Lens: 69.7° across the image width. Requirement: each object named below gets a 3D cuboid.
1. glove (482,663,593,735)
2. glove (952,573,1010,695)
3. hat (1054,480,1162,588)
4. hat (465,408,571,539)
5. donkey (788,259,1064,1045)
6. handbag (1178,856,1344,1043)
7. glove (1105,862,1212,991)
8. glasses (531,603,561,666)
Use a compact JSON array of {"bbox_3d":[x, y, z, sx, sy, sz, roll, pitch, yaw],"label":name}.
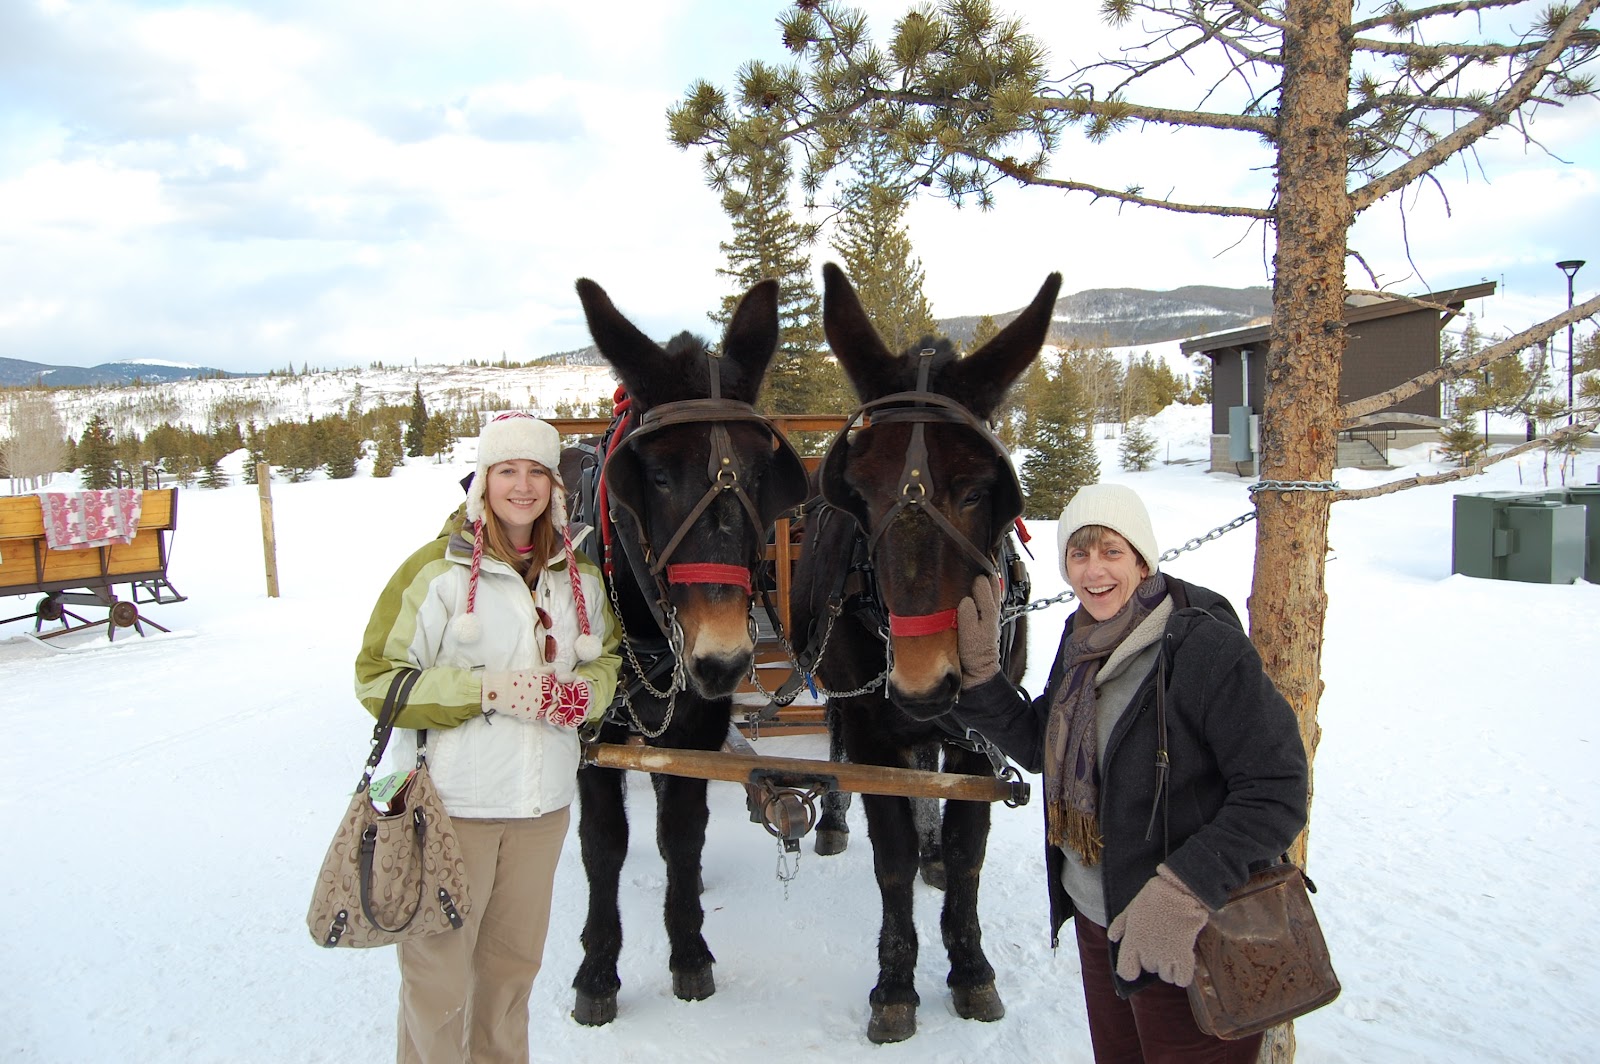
[{"bbox_3d":[-1.538,0.980,6.659,0.502,0.222,0.305,12,-43,-7],"label":"glove"},{"bbox_3d":[1.057,0.590,6.860,0.183,0.572,0.411,4,-11,-3],"label":"glove"},{"bbox_3d":[1.771,0.022,6.598,0.453,0.505,0.522,-7,-14,22],"label":"hat"},{"bbox_3d":[-1.602,-0.293,6.966,0.642,0.846,0.592,3,-11,-14],"label":"hat"},{"bbox_3d":[0.927,0.995,9.743,1.627,5.511,6.224,-1,2,4],"label":"donkey"},{"bbox_3d":[2.457,2.262,6.038,0.765,0.931,0.316,-4,7,-19],"label":"handbag"},{"bbox_3d":[1.876,2.042,6.217,0.431,0.672,0.571,1,-1,-13],"label":"glove"},{"bbox_3d":[-1.515,0.619,6.810,0.152,0.308,0.079,-16,9,-10],"label":"glasses"}]
